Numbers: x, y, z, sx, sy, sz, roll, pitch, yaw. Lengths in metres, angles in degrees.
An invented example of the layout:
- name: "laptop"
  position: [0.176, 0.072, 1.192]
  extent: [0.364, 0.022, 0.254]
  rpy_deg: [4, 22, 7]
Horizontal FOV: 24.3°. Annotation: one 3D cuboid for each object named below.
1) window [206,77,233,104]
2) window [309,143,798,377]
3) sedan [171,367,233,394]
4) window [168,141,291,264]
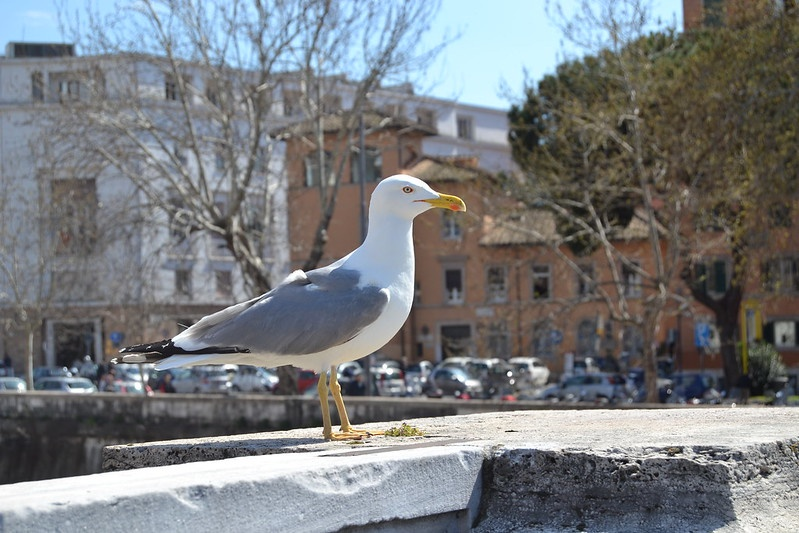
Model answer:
- name: "window"
  position: [-3.486, -3.396, 35.415]
  extent: [0.531, 0.583, 0.427]
  rpy_deg: [0, -2, 18]
- name: "window"
  position: [4.954, 0.278, 45.739]
  extent: [9.277, 3.282, 7.578]
  rpy_deg: [-1, -1, -30]
- name: "sedan"
  position: [-5.929, 3.438, 55.738]
  extent: [1.417, 0.768, 0.945]
  rpy_deg: [3, 1, 24]
- name: "window"
  position: [-3.450, -1.373, 36.871]
  extent: [1.325, 2.502, 2.499]
  rpy_deg: [-4, -3, 39]
